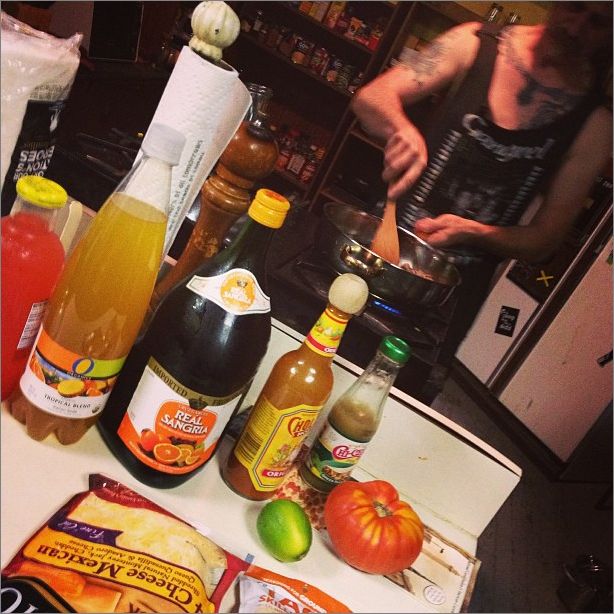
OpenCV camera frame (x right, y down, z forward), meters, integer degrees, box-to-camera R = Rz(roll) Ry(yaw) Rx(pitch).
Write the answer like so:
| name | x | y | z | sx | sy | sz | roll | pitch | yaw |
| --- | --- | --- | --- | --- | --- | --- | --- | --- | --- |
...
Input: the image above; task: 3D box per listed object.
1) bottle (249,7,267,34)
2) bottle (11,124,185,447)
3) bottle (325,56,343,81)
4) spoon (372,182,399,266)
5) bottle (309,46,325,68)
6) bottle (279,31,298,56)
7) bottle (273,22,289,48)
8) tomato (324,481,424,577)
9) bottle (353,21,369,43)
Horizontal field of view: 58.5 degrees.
| name | x | y | z | sx | sy | sz | roll | pitch | yaw |
| --- | --- | --- | --- | --- | --- | --- | --- | --- | --- |
| bottle | -0.305 | -1.788 | 3.458 | 0.095 | 0.157 | 0.056 | 22 | 28 | -17 |
| bottle | -0.199 | 0.007 | 0.518 | 0.089 | 0.319 | 0.083 | 25 | 27 | -14 |
| bottle | 0.178 | -1.501 | 3.475 | 0.114 | 0.133 | 0.035 | 20 | 11 | 27 |
| spoon | 0.191 | -0.183 | 1.284 | 0.058 | 0.166 | 0.027 | 10 | 2 | -9 |
| bottle | 0.076 | -1.587 | 3.473 | 0.089 | 0.137 | 0.082 | 12 | 33 | -8 |
| bottle | -0.107 | -1.680 | 3.487 | 0.096 | 0.152 | 0.086 | 26 | 30 | -11 |
| bottle | -0.164 | -1.714 | 3.487 | 0.104 | 0.132 | 0.034 | 25 | 27 | -7 |
| tomato | 0.059 | 0.244 | 0.654 | 0.120 | 0.063 | 0.106 | 5 | 39 | -25 |
| bottle | 0.338 | -1.675 | 3.338 | 0.089 | 0.138 | 0.090 | 9 | 28 | -5 |
